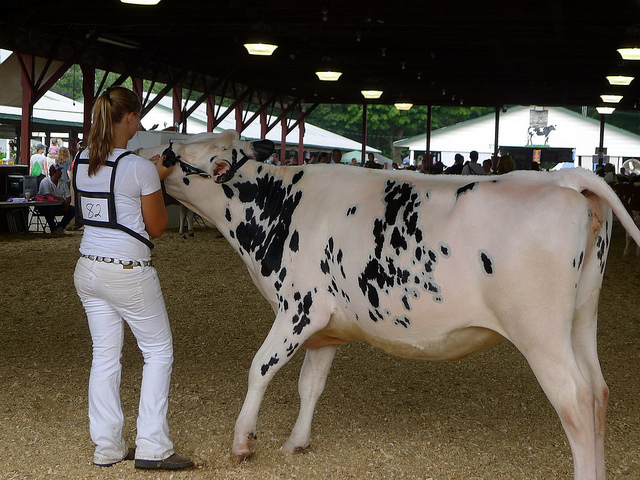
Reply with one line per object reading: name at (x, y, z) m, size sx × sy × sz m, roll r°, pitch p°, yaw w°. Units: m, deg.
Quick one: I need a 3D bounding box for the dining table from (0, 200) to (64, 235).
dining table at (-5.505, -0.435, 11.740) m, size 0.981 × 0.714 × 1.450 m, roll -2°, pitch 9°, yaw -19°

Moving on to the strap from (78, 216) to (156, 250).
strap at (-1.200, -0.076, 3.544) m, size 0.345 × 0.105 × 0.321 m, roll 7°, pitch -19°, yaw -37°

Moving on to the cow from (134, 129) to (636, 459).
cow at (0.380, 0.384, 3.405) m, size 2.389 × 1.932 × 0.955 m, roll 7°, pitch 10°, yaw 35°

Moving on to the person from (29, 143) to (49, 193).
person at (-6.597, -1.492, 14.213) m, size 0.399 × 1.508 × 0.419 m, roll 7°, pitch 16°, yaw -2°

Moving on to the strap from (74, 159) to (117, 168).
strap at (-1.265, -0.432, 3.397) m, size 0.109 × 0.035 × 0.128 m, roll 2°, pitch 0°, yaw -4°
